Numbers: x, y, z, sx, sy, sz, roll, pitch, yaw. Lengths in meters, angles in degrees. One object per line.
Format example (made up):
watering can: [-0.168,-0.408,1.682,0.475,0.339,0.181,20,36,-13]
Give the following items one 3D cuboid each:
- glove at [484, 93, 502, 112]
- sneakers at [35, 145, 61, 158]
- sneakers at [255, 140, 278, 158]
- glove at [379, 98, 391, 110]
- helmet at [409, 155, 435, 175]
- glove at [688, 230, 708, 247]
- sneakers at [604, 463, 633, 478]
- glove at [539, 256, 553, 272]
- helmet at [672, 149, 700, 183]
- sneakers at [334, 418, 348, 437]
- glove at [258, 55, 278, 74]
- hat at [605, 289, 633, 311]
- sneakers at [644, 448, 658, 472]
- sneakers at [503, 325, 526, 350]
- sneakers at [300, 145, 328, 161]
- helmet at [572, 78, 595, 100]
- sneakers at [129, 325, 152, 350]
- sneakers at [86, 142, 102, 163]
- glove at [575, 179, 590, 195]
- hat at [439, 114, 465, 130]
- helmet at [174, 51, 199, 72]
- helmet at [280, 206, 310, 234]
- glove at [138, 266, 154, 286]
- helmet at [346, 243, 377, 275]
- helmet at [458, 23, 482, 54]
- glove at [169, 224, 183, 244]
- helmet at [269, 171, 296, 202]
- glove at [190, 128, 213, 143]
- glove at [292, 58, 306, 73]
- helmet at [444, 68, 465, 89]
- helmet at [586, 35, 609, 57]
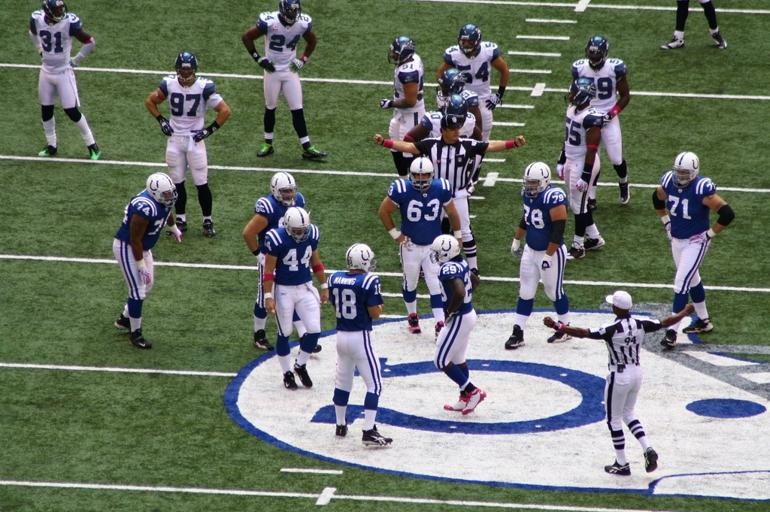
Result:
glove: [1.635,-2.345,19.945,0.194,0.251,0.095,14,4,23]
sneakers: [-5.300,-1.660,20.548,0.289,0.157,0.145,5,28,-3]
sneakers: [-1.867,-1.712,20.708,0.327,0.194,0.158,-3,40,0]
glove: [0.010,-2.265,19.474,0.161,0.123,0.217,-30,14,-8]
helmet: [0.459,-1.188,16.780,0.213,0.260,0.224,1,48,-2]
glove: [4.035,-0.223,16.993,0.211,0.128,0.079,-12,-11,2]
sneakers: [2.695,2.505,15.261,0.299,0.129,0.132,4,32,7]
glove: [2.051,0.100,16.843,0.165,0.248,0.191,-1,-2,-28]
helmet: [3.843,-1.142,16.888,0.296,0.382,0.276,2,17,7]
sneakers: [-0.533,2.080,15.794,0.144,0.191,0.180,-1,17,-2]
glove: [-1.806,-2.964,20.122,0.193,0.084,0.252,3,37,-52]
hat: [2.692,0.515,15.275,0.223,0.157,0.306,-1,22,-21]
sneakers: [3.036,2.394,15.156,0.136,0.295,0.147,2,22,1]
sneakers: [1.688,1.086,17.145,0.151,0.289,0.432,9,15,35]
sneakers: [-1.150,-1.602,20.588,0.497,0.157,0.249,3,-14,-11]
helmet: [2.783,-2.390,18.476,0.304,0.269,0.230,-11,30,-2]
sneakers: [-3.115,1.076,17.076,0.400,0.242,0.153,10,21,13]
sneakers: [-4.542,-1.633,20.501,0.119,0.242,0.343,-15,31,19]
glove: [2.747,-0.989,18.471,0.158,0.190,0.169,16,53,9]
hat: [0.875,-1.776,17.303,0.249,0.184,0.193,8,3,29]
helmet: [-2.808,-2.782,18.699,0.322,0.346,0.394,0,11,-8]
helmet: [-1.082,-0.458,15.991,0.337,0.275,0.249,-2,7,39]
glove: [-3.058,0.262,16.816,0.159,0.207,0.075,-12,-3,-44]
helmet: [-0.289,0.022,15.570,0.263,0.346,0.347,5,18,18]
helmet: [1.282,-3.290,19.740,0.322,0.398,0.426,5,57,16]
glove: [-2.774,-0.285,17.314,0.087,0.269,0.152,-2,49,31]
helmet: [-1.259,-0.893,16.475,0.300,0.309,0.382,-7,25,-25]
glove: [-2.599,-1.732,18.830,0.264,0.098,0.168,-30,50,-30]
glove: [-1.393,-3.006,20.518,0.314,0.222,0.107,-9,-3,32]
helmet: [0.948,-2.468,18.325,0.289,0.229,0.274,-26,-7,3]
helmet: [3.080,-3.098,19.139,0.287,0.342,0.311,11,-23,9]
